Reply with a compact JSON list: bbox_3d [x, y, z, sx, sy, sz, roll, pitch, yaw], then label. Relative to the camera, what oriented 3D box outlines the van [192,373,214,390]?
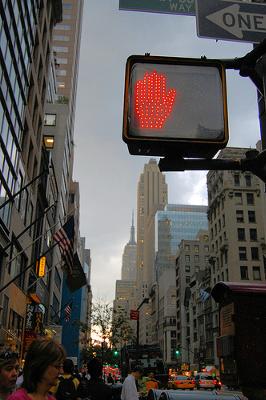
[{"bbox_3d":[7.499,19.179,40.402,2.066,1.587,2.807,-3,-23,7],"label":"van"}]

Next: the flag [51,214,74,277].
[{"bbox_3d":[-4.028,2.309,22.141,0.745,3.194,2.050,-2,-21,7],"label":"flag"}]

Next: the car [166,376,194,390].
[{"bbox_3d":[4.976,18.958,39.563,2.723,1.244,4.599,-3,-24,7],"label":"car"}]

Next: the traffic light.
[{"bbox_3d":[0.239,-0.559,2.305,0.609,0.794,0.279,2,-16,-3],"label":"traffic light"}]
